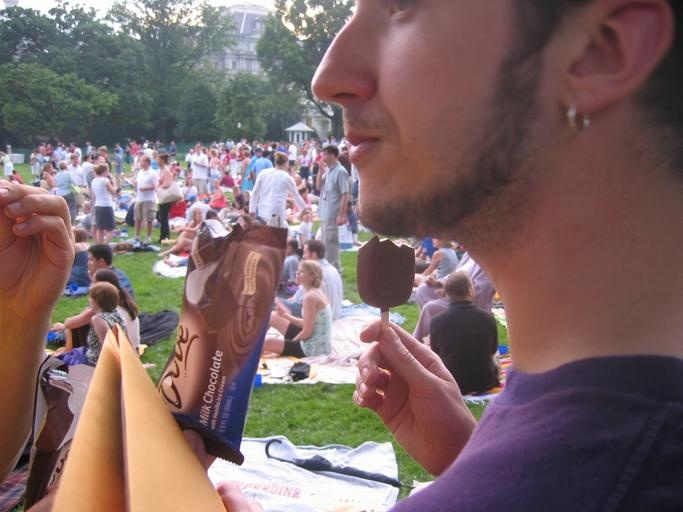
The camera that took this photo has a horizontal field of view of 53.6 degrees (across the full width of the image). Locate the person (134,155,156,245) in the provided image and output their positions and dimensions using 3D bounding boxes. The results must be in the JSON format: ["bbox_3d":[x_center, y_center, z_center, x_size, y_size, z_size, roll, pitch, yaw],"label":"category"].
[{"bbox_3d":[-4.237,-1.178,14.400,0.667,1.867,0.733,2,8,-16],"label":"person"}]

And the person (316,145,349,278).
[{"bbox_3d":[-0.228,-0.724,11.213,0.428,2.215,0.615,-9,16,-36],"label":"person"}]

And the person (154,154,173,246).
[{"bbox_3d":[-3.923,-1.201,14.489,0.531,2.043,0.626,-3,24,-19],"label":"person"}]

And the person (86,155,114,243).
[{"bbox_3d":[-4.680,-0.917,13.251,0.467,1.943,0.509,-1,17,-12],"label":"person"}]

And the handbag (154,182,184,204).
[{"bbox_3d":[-3.702,-1.344,14.425,0.559,0.639,0.251,-18,3,-22],"label":"handbag"}]
